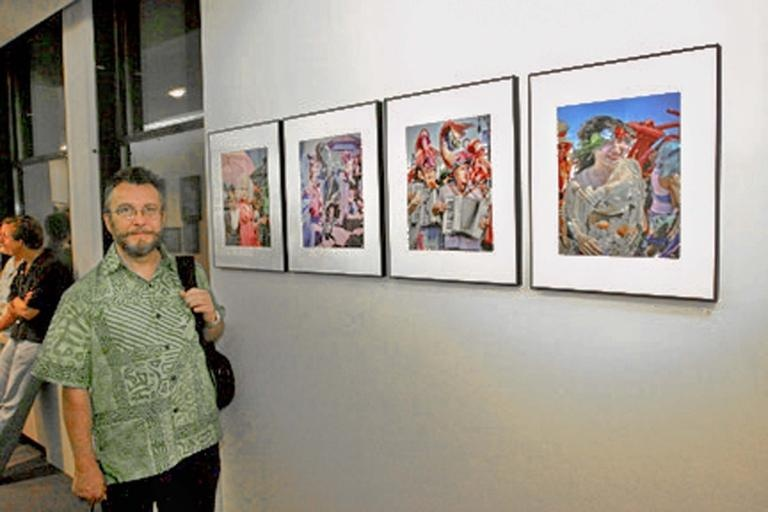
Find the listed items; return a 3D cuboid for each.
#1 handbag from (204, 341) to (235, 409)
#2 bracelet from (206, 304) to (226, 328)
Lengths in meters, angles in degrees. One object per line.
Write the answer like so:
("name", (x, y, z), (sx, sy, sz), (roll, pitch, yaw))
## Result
("handbag", (-0.987, 0.720, 3.792), (0.112, 0.357, 0.250), (-3, 3, -4))
("bracelet", (-1.019, 0.358, 3.732), (0.140, 0.070, 0.190), (2, -17, -31))
